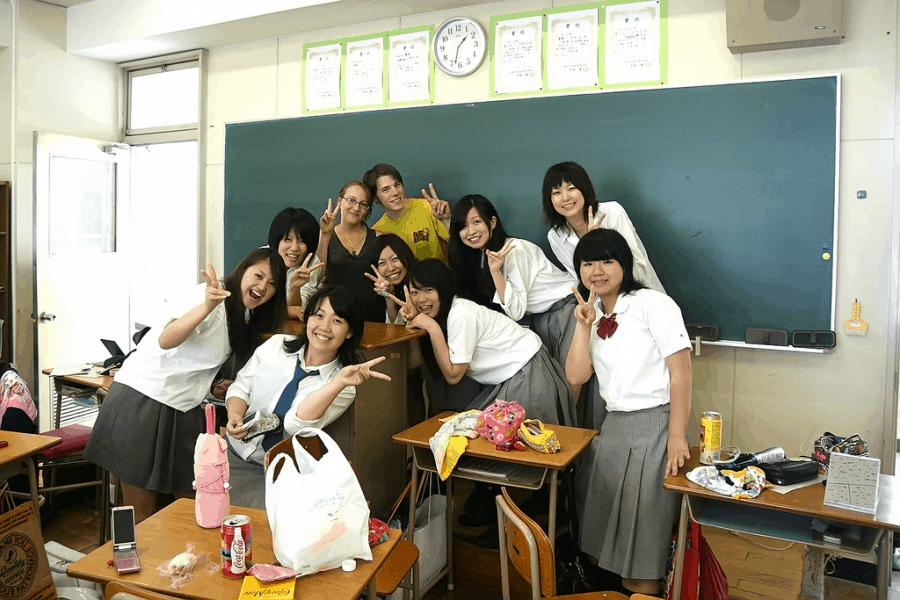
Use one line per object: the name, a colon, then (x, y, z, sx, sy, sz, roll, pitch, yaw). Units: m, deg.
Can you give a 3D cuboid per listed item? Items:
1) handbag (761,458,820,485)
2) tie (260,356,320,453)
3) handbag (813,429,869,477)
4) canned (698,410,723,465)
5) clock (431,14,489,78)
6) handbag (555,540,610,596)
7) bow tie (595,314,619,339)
handbag: (1.546, 0.770, 2.901, 0.165, 0.056, 0.125, -3, 5, -29)
tie: (-0.844, 0.532, 3.354, 0.177, 0.552, 0.092, 26, -14, 16)
handbag: (1.876, 0.745, 3.129, 0.190, 0.121, 0.261, -2, -2, 9)
canned: (1.233, 0.637, 3.030, 0.093, 0.231, 0.135, 0, 4, 19)
clock: (0.067, -1.819, 4.597, 0.388, 0.401, 0.055, 4, 13, 22)
handbag: (0.667, 1.398, 3.305, 0.216, 0.312, 0.110, -33, 1, 11)
bow tie: (0.800, 0.133, 3.239, 0.036, 0.136, 0.114, -2, 6, -33)
